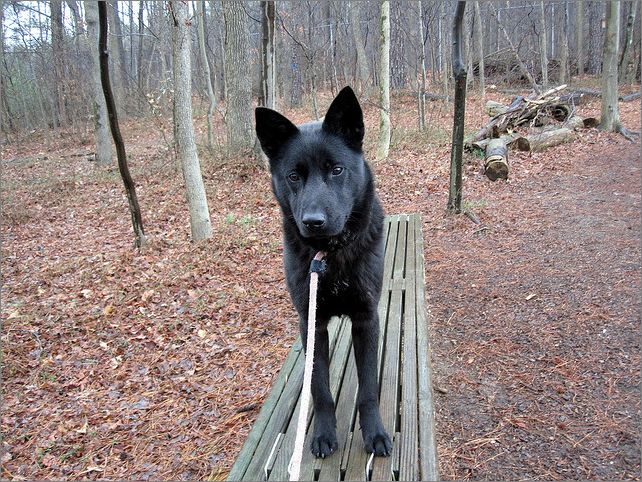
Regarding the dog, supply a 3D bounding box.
[{"bbox_3d":[0.120,0.190,4.790,1.094,3.142,1.469,-8,16,-6],"label":"dog"}]
